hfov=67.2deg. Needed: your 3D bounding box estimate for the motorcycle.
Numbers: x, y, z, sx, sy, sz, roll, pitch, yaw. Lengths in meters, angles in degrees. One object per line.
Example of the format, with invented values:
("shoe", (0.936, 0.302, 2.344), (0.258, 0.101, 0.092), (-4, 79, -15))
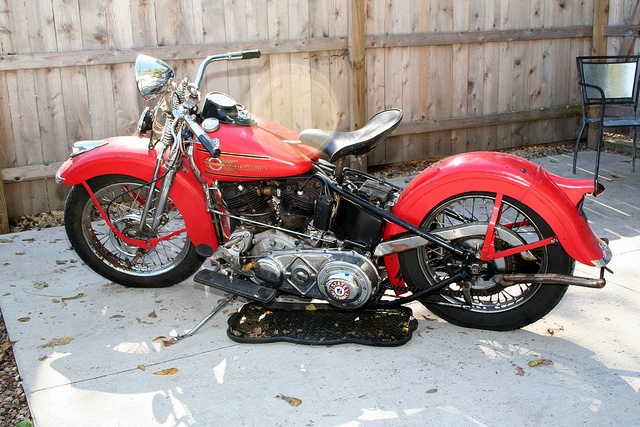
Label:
("motorcycle", (-0.013, -0.159, 3.359), (3.745, 1.848, 0.723), (5, 19, 13))
